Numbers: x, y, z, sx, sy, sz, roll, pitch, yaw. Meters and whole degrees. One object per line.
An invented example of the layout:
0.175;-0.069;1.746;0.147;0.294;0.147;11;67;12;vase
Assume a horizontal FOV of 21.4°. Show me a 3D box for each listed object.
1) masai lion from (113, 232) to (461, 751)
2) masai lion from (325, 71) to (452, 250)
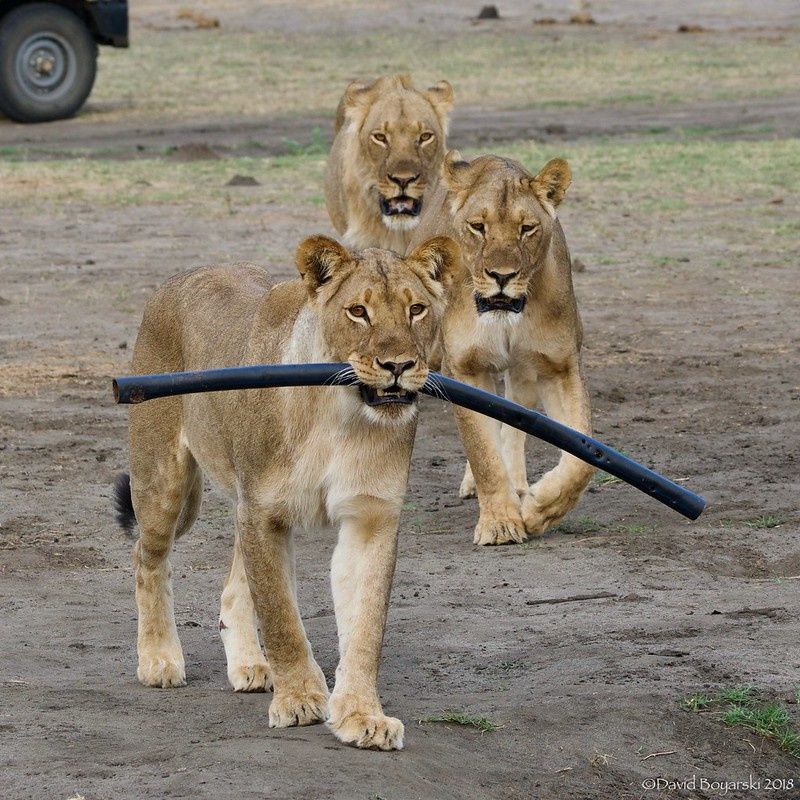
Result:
-0.614;0.337;9.072;0.823;1.973;3.123;-2;3;-27;masai lion
-0.073;-1.521;13.910;0.781;1.272;2.432;0;11;-5;masai lion
